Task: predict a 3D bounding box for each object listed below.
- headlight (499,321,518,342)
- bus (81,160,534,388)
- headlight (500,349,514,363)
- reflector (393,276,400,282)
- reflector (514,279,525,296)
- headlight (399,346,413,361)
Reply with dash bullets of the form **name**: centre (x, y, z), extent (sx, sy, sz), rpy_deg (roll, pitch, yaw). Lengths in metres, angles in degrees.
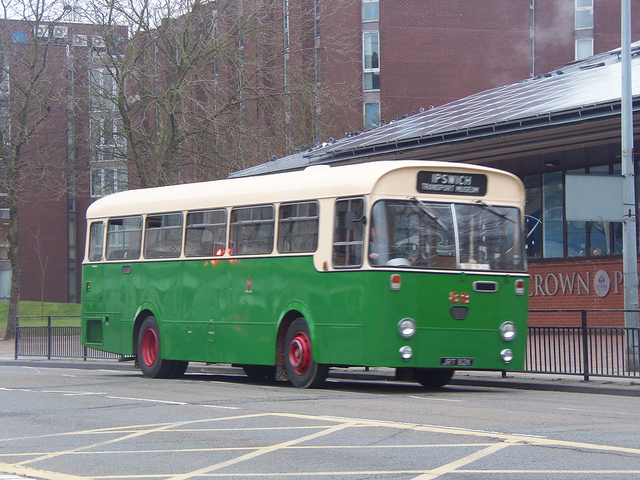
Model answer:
- **headlight**: centre (3.658, 1.792, 18.862), extent (0.371, 0.369, 0.096), rpy_deg (-18, 6, -31)
- **bus**: centre (-1.129, 0.897, 21.993), extent (11.573, 4.729, 3.209), rpy_deg (-7, -9, 43)
- **headlight**: centre (3.638, 2.263, 18.876), extent (0.325, 0.256, 0.063), rpy_deg (4, -7, -37)
- **reflector**: centre (1.423, 0.729, 18.152), extent (0.081, 0.134, 0.146), rpy_deg (4, -4, -17)
- **reflector**: centre (3.906, 0.922, 18.983), extent (0.233, 0.309, 0.035), rpy_deg (3, -7, -29)
- **headlight**: centre (1.611, 2.134, 18.188), extent (0.262, 0.270, 0.059), rpy_deg (3, -7, -29)
